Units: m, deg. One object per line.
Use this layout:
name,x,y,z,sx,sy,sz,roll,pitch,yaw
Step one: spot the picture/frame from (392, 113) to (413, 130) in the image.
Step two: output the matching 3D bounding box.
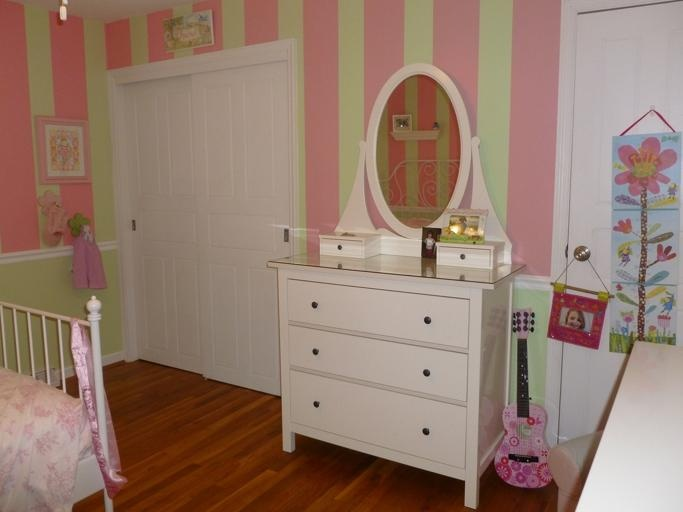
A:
picture/frame,0.374,-0.819,3.287,0.094,0.089,0.007,4,9,30

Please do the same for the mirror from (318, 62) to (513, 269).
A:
mirror,0.485,-0.544,3.229,1.090,1.119,0.211,6,10,32

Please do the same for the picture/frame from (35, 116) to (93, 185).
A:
picture/frame,-2.176,-0.820,4.169,0.043,0.620,0.482,3,6,37

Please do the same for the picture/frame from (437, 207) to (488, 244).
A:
picture/frame,0.700,-0.169,3.060,0.195,0.183,0.014,7,-19,31

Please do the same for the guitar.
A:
guitar,1.022,0.774,2.948,0.298,0.903,0.367,4,13,20
